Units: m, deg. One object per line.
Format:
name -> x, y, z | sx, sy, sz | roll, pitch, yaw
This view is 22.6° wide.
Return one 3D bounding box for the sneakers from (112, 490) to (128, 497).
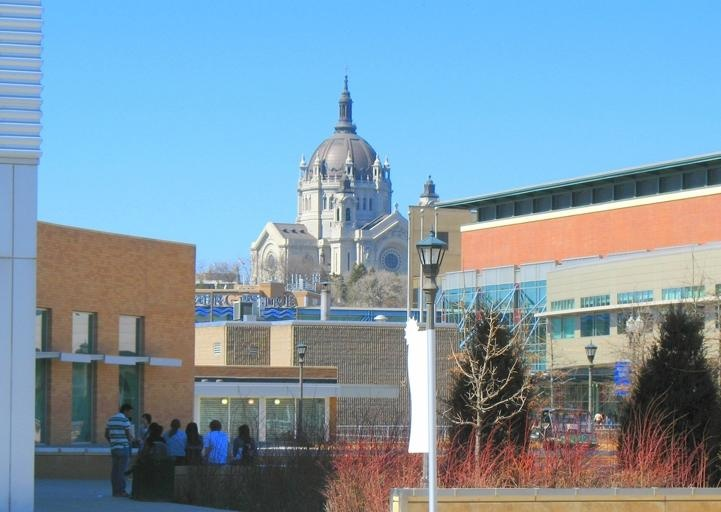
sneakers -> -6.798, 6.668, 50.882 | 0.166, 0.217, 0.472 | 2, 0, 28
